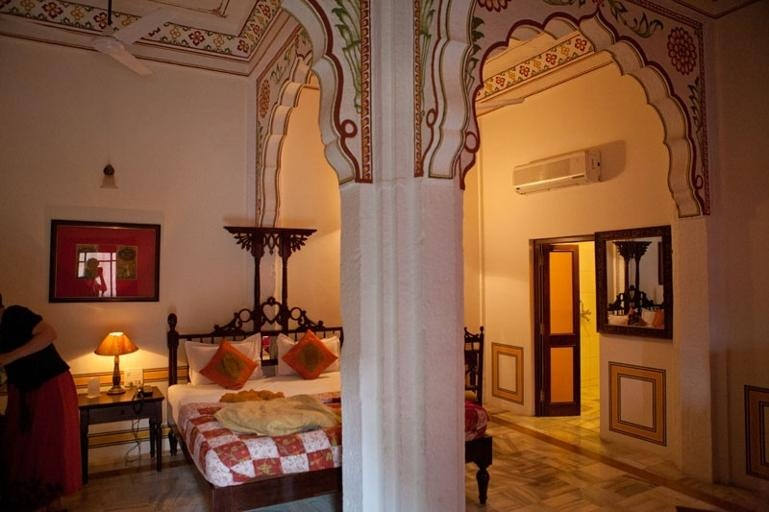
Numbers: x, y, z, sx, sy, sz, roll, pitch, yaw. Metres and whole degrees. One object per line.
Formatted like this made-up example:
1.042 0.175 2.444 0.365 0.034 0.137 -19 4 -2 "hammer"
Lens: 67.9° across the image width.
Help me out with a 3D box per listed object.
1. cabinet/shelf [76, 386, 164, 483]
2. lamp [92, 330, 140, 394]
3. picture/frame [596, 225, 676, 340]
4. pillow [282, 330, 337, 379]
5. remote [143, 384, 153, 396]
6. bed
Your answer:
-3.275 2.188 7.128 0.953 0.953 0.868 -4 7 -24 "cabinet/shelf"
-3.460 1.387 7.341 0.453 0.750 0.485 2 3 6 "lamp"
3.303 0.368 7.606 0.997 1.469 0.046 -1 2 43 "picture/frame"
-1.050 1.375 7.909 0.599 0.578 0.157 -43 -2 -30 "pillow"
-3.052 1.720 7.341 0.090 0.128 0.125 -2 -2 -26 "remote"
-0.838 1.578 7.077 3.717 2.153 3.253 -3 7 -16 "bed"
